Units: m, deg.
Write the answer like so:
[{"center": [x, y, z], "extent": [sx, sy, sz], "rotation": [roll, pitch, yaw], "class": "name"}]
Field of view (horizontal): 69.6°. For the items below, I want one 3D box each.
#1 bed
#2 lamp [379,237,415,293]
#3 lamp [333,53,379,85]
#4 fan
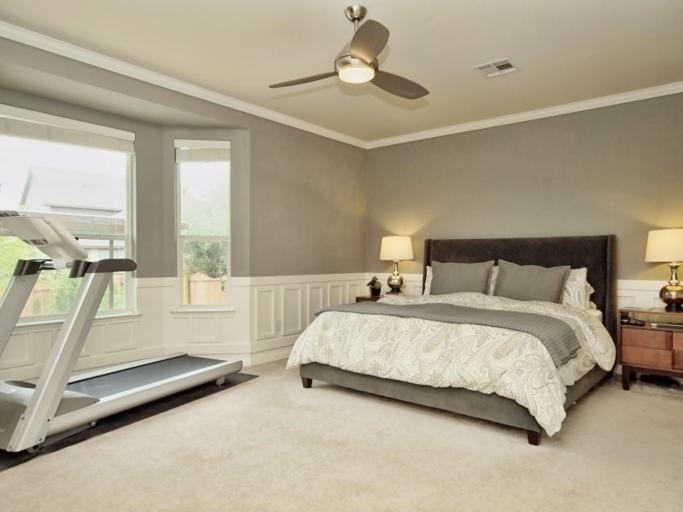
[{"center": [1.612, 0.615, 5.093], "extent": [2.284, 1.486, 2.292], "rotation": [-1, 0, 38], "class": "bed"}, {"center": [0.795, 0.132, 7.039], "extent": [0.595, 0.797, 0.588], "rotation": [1, -2, -41], "class": "lamp"}, {"center": [0.135, -1.448, 3.824], "extent": [0.341, 0.160, 0.277], "rotation": [-7, 12, -38], "class": "lamp"}, {"center": [0.170, -1.527, 3.861], "extent": [0.722, 0.396, 0.920], "rotation": [6, 11, 32], "class": "fan"}]
